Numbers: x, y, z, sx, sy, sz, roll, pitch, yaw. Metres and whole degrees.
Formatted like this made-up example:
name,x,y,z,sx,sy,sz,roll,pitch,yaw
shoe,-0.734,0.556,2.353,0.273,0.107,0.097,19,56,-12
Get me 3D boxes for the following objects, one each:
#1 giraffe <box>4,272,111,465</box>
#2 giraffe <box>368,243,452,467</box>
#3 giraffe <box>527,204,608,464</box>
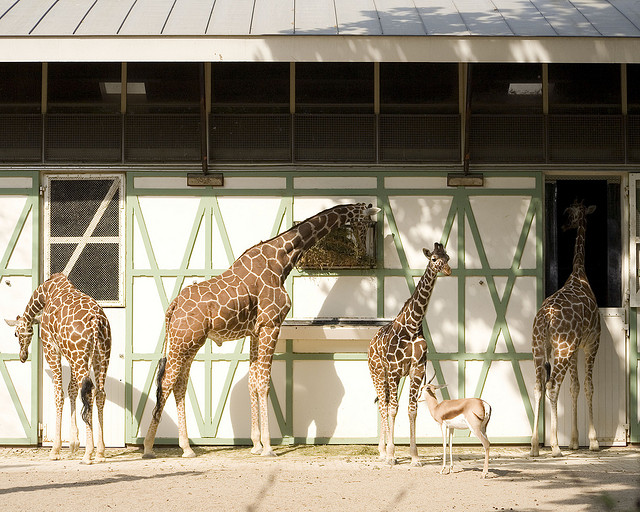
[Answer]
name,x,y,z,sx,sy,sz,roll,pitch,yaw
giraffe,-2.791,1.274,13.803,1.205,1.979,0.615,10,14,44
giraffe,0.934,1.018,13.688,0.778,2.591,0.772,2,3,3
giraffe,2.901,0.885,14.443,0.847,2.844,1.591,2,10,13
